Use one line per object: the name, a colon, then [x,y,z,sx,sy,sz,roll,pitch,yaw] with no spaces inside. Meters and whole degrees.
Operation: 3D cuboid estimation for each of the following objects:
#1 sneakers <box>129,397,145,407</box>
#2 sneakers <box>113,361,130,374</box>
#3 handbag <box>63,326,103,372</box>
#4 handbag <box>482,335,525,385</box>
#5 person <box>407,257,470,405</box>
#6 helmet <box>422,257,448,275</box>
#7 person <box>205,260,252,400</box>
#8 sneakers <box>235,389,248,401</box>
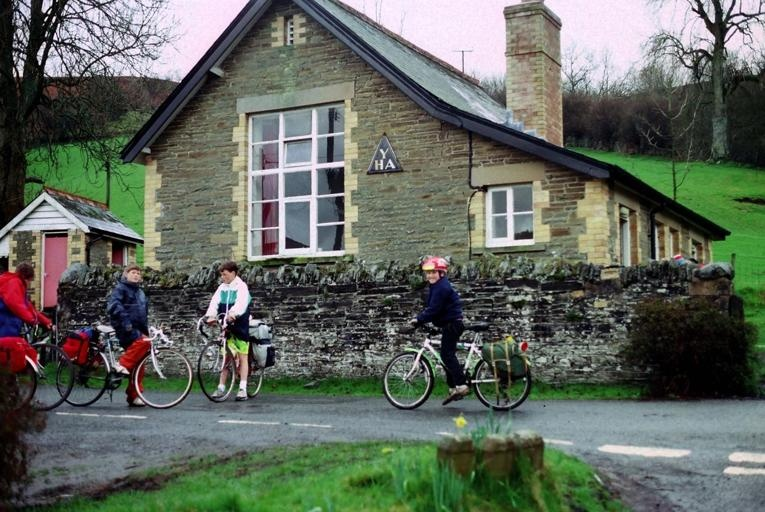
sneakers: [-5.983,3.582,24.489,0.494,0.207,0.194,-4,-4,37]
sneakers: [-6.201,2.690,24.056,0.332,0.211,0.154,30,-22,-12]
handbag: [-7.194,2.218,24.564,0.868,1.109,0.904,-2,-6,36]
handbag: [2.787,2.469,23.310,0.804,1.030,1.019,-21,5,-23]
person: [1.485,1.909,23.761,1.288,3.627,0.986,4,14,18]
helmet: [1.255,0.213,23.752,0.479,0.234,0.338,10,-10,-40]
person: [-3.748,1.915,25.022,0.875,3.476,0.897,11,17,40]
sneakers: [-3.501,3.515,25.209,0.179,0.176,0.394,-1,-13,3]
